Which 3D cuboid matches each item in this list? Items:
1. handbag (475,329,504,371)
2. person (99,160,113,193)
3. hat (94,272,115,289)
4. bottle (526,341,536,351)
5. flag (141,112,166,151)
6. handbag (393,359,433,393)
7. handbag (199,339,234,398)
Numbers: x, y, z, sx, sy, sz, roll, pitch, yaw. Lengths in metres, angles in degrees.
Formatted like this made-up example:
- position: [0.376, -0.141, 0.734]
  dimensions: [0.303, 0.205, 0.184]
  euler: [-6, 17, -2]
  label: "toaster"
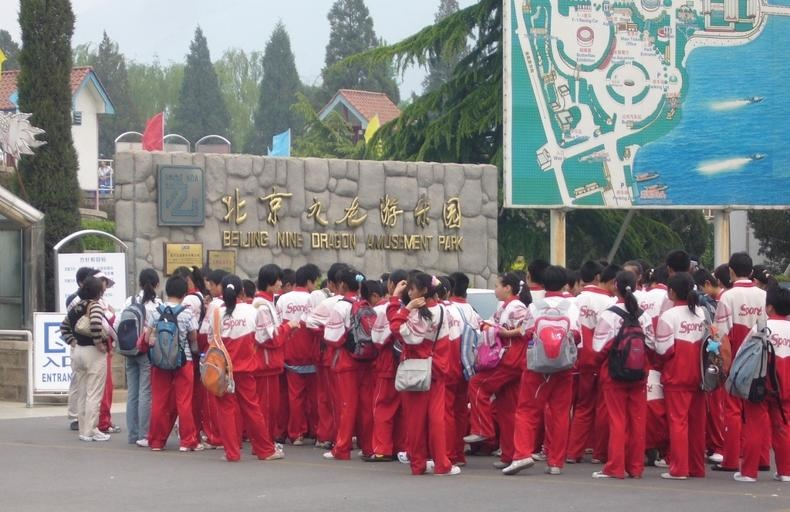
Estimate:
- position: [1.739, 1.791, 32.294]
  dimensions: [0.434, 0.837, 0.713]
  euler: [2, 2, -40]
  label: "handbag"
- position: [-10.629, -2.946, 61.741]
  dimensions: [0.444, 1.282, 1.710]
  euler: [0, -3, -10]
  label: "person"
- position: [-5.914, 0.470, 34.258]
  dimensions: [0.281, 0.275, 0.462]
  euler: [-9, 4, 31]
  label: "hat"
- position: [2.497, 1.694, 31.873]
  dimensions: [0.125, 0.167, 0.171]
  euler: [-1, -17, 7]
  label: "bottle"
- position: [-7.313, -3.758, 50.661]
  dimensions: [0.635, 0.408, 1.485]
  euler: [4, -45, -2]
  label: "flag"
- position: [0.290, 2.249, 31.806]
  dimensions: [0.674, 0.641, 0.282]
  euler: [-2, -5, 22]
  label: "handbag"
- position: [-3.457, 2.101, 32.421]
  dimensions: [0.577, 1.025, 0.953]
  euler: [-12, 21, -42]
  label: "handbag"
